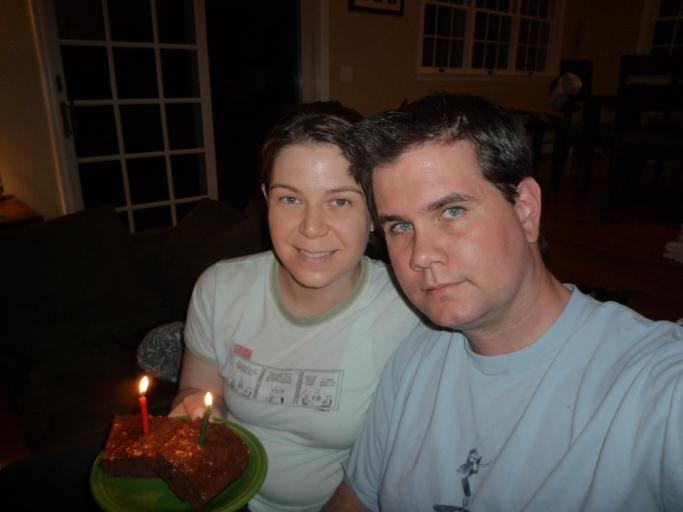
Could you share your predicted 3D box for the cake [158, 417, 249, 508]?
[{"bbox_3d":[-0.507,0.759,2.105,0.286,0.077,0.298,-26,40,-32],"label":"cake"}]
